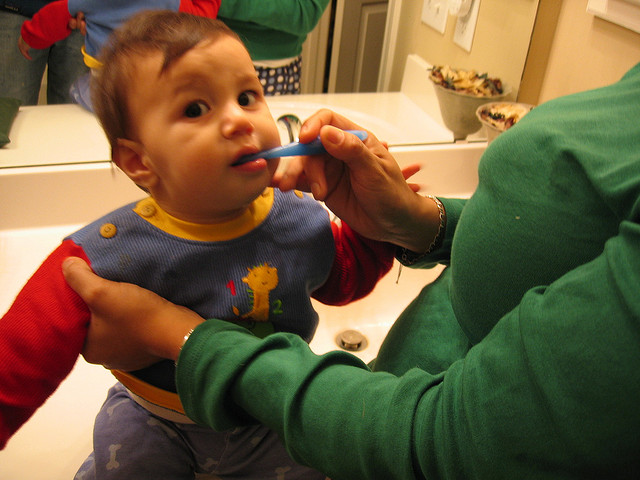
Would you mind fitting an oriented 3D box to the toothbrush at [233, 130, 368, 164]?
[{"bbox_3d":[-0.024,-0.116,0.681,0.114,0.023,0.018,-17,65,-23],"label":"toothbrush"}]

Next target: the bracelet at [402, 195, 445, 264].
[{"bbox_3d":[0.155,-0.009,0.787,0.023,0.091,0.066,22,-15,-38],"label":"bracelet"}]

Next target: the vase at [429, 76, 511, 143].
[{"bbox_3d":[0.317,-0.284,1.158,0.120,0.109,0.128,21,20,-6],"label":"vase"}]
